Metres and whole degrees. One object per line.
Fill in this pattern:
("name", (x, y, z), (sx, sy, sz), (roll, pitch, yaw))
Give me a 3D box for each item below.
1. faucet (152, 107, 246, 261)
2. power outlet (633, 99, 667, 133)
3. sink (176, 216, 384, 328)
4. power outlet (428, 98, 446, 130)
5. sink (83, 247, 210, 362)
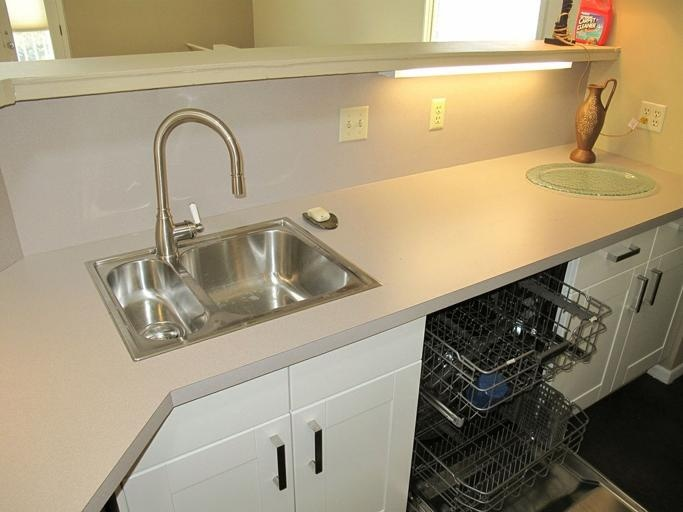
("faucet", (-0.435, -0.217, 1.473), (0.352, 0.449, 0.150), (3, 29, 8))
("power outlet", (1.477, -0.673, 2.335), (0.024, 0.144, 0.136), (-17, 31, -30))
("sink", (-0.202, 0.095, 1.620), (0.371, 0.196, 0.445), (-18, 42, -24))
("power outlet", (0.418, -0.633, 2.154), (0.105, 0.134, 0.013), (-20, 36, -30))
("sink", (-0.593, 0.130, 1.499), (0.253, 0.178, 0.418), (-14, 51, -31))
